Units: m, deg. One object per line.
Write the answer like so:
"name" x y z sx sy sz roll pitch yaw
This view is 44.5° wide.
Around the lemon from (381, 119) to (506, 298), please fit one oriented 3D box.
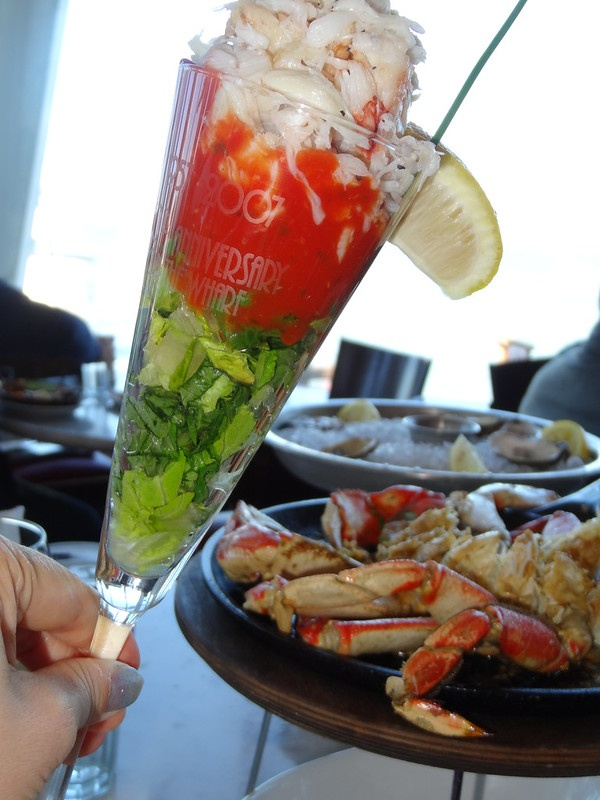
"lemon" 0.131 -0.141 0.547 0.086 0.027 0.158 -4 -38 35
